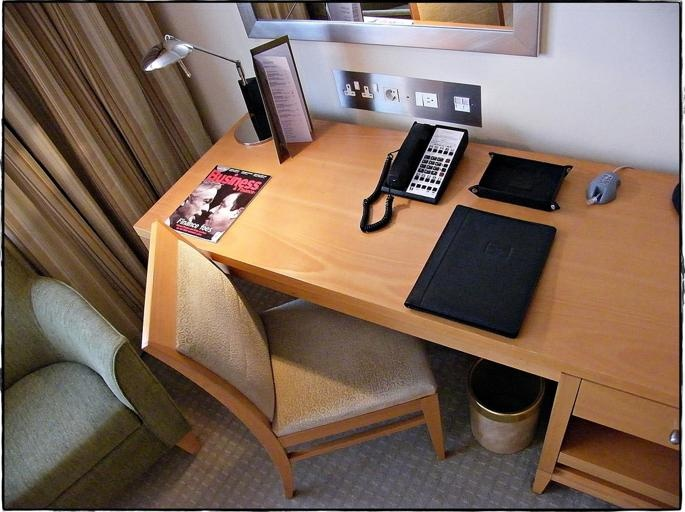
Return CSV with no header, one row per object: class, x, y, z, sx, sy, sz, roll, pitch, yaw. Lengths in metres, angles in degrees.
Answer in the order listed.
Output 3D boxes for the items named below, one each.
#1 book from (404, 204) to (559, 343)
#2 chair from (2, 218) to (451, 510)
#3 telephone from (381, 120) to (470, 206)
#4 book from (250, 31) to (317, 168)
book,0.408,0.033,1.399,0.313,0.114,0.391,15,48,25
chair,-0.385,0.396,1.636,0.405,0.662,0.997,-41,60,-19
telephone,0.280,-0.303,1.616,0.232,0.123,0.310,20,70,23
book,-0.215,-0.573,1.758,0.065,0.510,0.272,24,62,25
